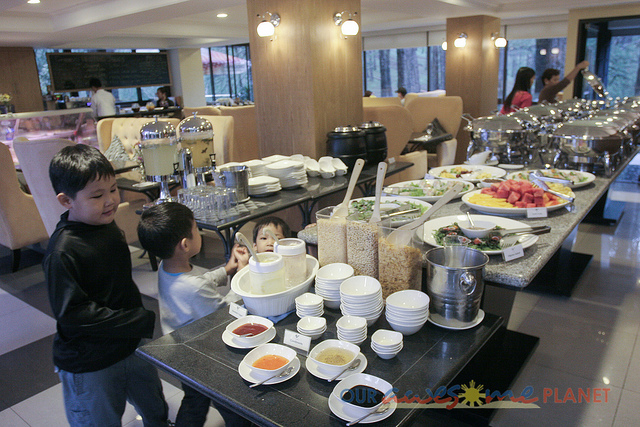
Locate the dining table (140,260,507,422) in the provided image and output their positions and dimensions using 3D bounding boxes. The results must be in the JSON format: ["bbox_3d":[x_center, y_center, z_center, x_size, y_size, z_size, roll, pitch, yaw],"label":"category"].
[{"bbox_3d":[-0.022,0.495,1.694,1.321,0.311,0.581,2,21,13],"label":"dining table"}]

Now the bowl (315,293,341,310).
[{"bbox_3d":[0.032,0.367,1.853,0.082,0.042,0.080,0,4,0],"label":"bowl"}]

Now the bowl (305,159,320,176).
[{"bbox_3d":[-0.061,-0.386,3.691,0.120,0.090,0.131,0,16,0],"label":"bowl"}]

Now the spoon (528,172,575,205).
[{"bbox_3d":[1.364,-0.166,2.640,0.103,0.047,0.357,-4,26,-14],"label":"spoon"}]

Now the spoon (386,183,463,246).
[{"bbox_3d":[0.527,0.009,2.212,0.108,0.462,0.068,53,15,16],"label":"spoon"}]

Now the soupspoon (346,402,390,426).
[{"bbox_3d":[0.162,0.686,1.495,0.152,0.021,0.032,-19,15,-21],"label":"soupspoon"}]

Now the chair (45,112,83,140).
[{"bbox_3d":[-3.445,-1.134,5.802,0.374,0.320,0.692,-6,20,-7],"label":"chair"}]

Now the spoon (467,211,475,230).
[{"bbox_3d":[0.767,0.029,2.255,0.020,0.009,0.100,6,43,-20],"label":"spoon"}]

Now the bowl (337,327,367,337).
[{"bbox_3d":[0.119,0.462,1.706,0.108,0.026,0.027,-3,20,1],"label":"bowl"}]

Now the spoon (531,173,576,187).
[{"bbox_3d":[1.475,-0.214,2.779,0.250,0.035,0.053,16,24,32],"label":"spoon"}]

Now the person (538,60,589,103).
[{"bbox_3d":[3.213,-1.730,5.917,0.403,0.428,1.078,7,22,26],"label":"person"}]

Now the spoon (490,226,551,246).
[{"bbox_3d":[0.986,0.093,2.158,0.300,0.047,0.098,-11,21,-22],"label":"spoon"}]

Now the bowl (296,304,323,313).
[{"bbox_3d":[-0.047,0.395,1.818,0.105,0.019,0.030,-5,20,-4],"label":"bowl"}]

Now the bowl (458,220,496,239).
[{"bbox_3d":[0.767,0.071,2.197,0.152,0.057,0.177,-21,26,-40],"label":"bowl"}]

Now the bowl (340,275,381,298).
[{"bbox_3d":[0.166,0.288,1.829,0.100,0.034,0.102,-3,21,1],"label":"bowl"}]

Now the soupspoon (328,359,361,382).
[{"bbox_3d":[0.086,0.574,1.598,0.122,0.017,0.024,-28,25,-25],"label":"soupspoon"}]

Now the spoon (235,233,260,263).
[{"bbox_3d":[-0.387,0.180,2.293,0.112,0.172,0.034,29,64,25],"label":"spoon"}]

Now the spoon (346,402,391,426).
[{"bbox_3d":[0.162,0.687,1.495,0.158,0.021,0.033,-19,10,-18],"label":"spoon"}]

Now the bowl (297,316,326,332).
[{"bbox_3d":[-0.039,0.439,1.748,0.109,0.026,0.074,-2,20,4],"label":"bowl"}]

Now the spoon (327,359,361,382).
[{"bbox_3d":[0.085,0.574,1.598,0.137,0.020,0.028,-25,8,-30],"label":"spoon"}]

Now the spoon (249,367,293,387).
[{"bbox_3d":[-0.183,0.601,1.607,0.123,0.017,0.024,-21,37,-17],"label":"spoon"}]

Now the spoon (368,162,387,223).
[{"bbox_3d":[0.261,-0.101,2.002,0.075,0.305,0.046,5,1,18],"label":"spoon"}]

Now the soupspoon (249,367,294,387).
[{"bbox_3d":[-0.183,0.601,1.607,0.120,0.017,0.023,-22,39,-15],"label":"soupspoon"}]

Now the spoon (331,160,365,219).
[{"bbox_3d":[0.143,-0.116,2.128,0.090,0.388,0.058,22,8,16],"label":"spoon"}]

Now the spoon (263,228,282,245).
[{"bbox_3d":[-0.274,0.123,2.397,0.037,0.187,0.041,5,66,21],"label":"spoon"}]

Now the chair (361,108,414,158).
[{"bbox_3d":[0.714,-1.048,5.457,0.640,0.705,0.595,-14,25,-27],"label":"chair"}]

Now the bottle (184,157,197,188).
[{"bbox_3d":[-0.887,-0.271,2.910,0.076,0.188,0.126,-11,22,-17],"label":"bottle"}]

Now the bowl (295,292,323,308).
[{"bbox_3d":[-0.050,0.365,1.847,0.064,0.019,0.057,10,24,29],"label":"bowl"}]

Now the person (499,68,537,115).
[{"bbox_3d":[2.755,-1.721,6.130,0.369,0.606,0.937,4,21,21],"label":"person"}]
